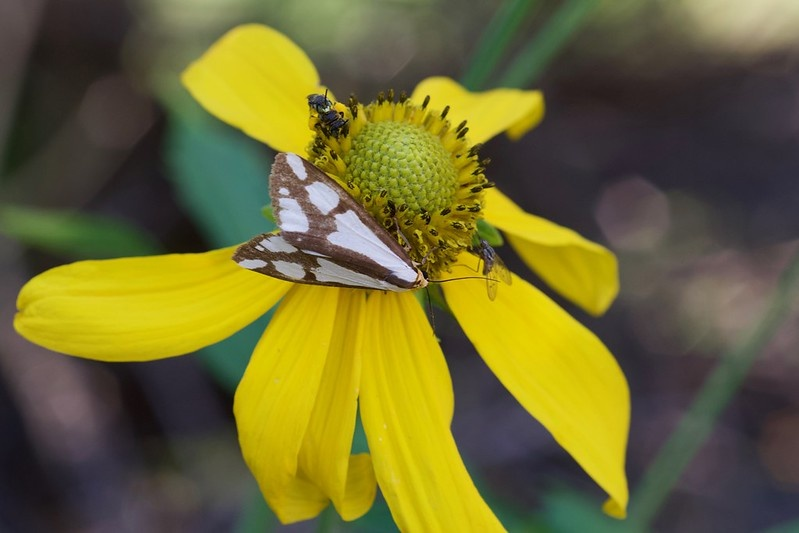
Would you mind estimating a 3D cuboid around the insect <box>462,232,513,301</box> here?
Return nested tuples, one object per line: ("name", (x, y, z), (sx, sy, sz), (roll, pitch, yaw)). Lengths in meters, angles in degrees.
("insect", (0.259, 0.011, 2.395), (0.056, 0.196, 0.138), (-13, 15, 41))
